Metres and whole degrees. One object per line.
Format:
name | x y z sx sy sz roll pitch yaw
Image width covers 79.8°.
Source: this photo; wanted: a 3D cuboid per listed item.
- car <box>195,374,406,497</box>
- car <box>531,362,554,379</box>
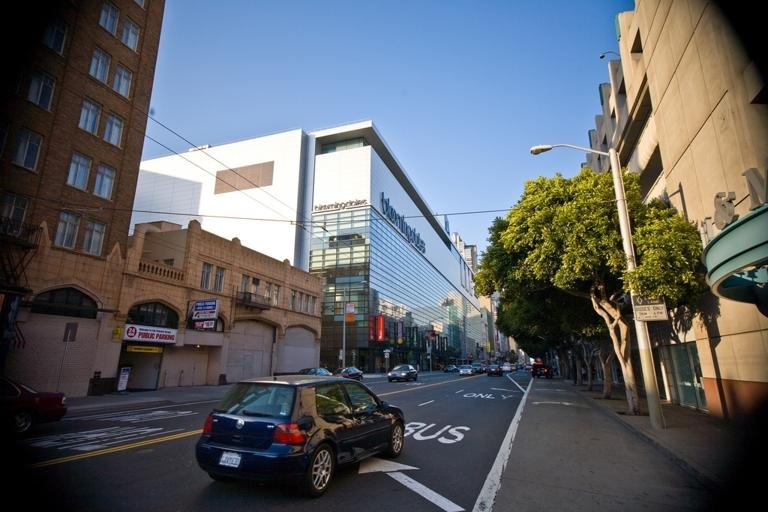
car | -1.751 4.759 12.905 2.638 2.072 4.828 -9 -13 34
car | 20.464 14.703 59.668 1.925 1.553 3.444 -8 -32 16
